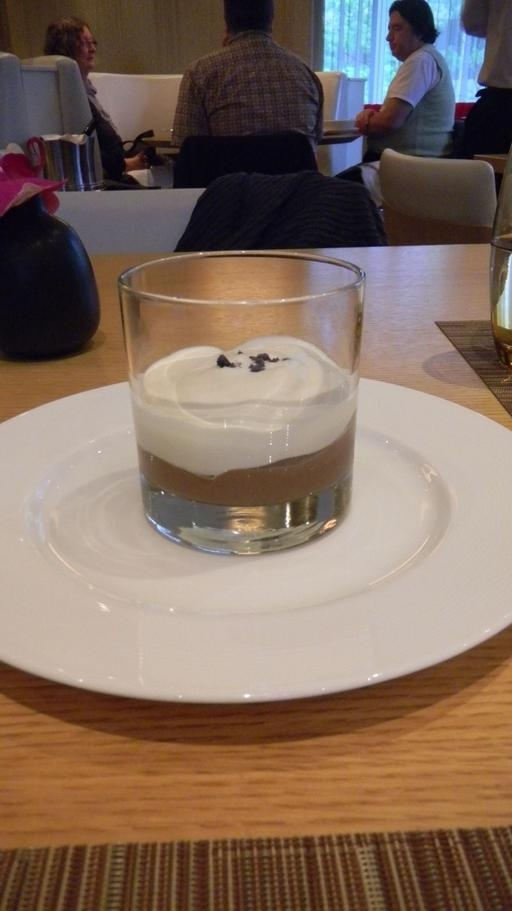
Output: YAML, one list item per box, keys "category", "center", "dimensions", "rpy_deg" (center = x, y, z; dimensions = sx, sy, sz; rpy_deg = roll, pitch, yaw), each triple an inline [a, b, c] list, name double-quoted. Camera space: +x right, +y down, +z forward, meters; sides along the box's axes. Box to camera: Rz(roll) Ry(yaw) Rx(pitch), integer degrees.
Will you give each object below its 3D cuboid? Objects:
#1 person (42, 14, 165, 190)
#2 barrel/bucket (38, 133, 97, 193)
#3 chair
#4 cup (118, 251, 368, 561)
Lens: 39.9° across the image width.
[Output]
- category: "person"
  center: [-0.891, -2.111, 4.177]
  dimensions: [0.625, 0.870, 2.332]
  rpy_deg: [-5, 28, -14]
- category: "barrel/bucket"
  center: [-0.610, -0.955, 2.321]
  dimensions: [0.162, 0.179, 0.420]
  rpy_deg: [-4, 28, -12]
- category: "chair"
  center: [0.581, -0.846, 2.394]
  dimensions: [0.197, 0.336, 0.521]
  rpy_deg: [-14, 31, -29]
- category: "cup"
  center: [-0.004, -0.021, 0.441]
  dimensions: [0.156, 0.186, 0.161]
  rpy_deg: [-1, 27, 0]
